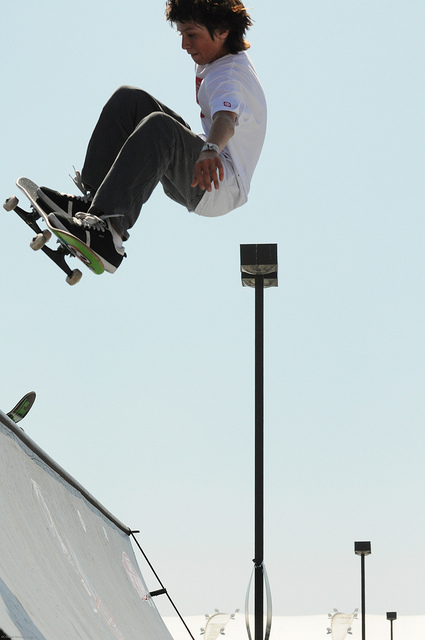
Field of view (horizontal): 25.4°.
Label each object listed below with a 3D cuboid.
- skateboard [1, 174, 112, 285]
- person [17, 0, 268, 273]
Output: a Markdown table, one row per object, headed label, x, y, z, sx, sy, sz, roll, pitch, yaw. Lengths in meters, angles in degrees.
| label | x | y | z | sx | sy | sz | roll | pitch | yaw |
| --- | --- | --- | --- | --- | --- | --- | --- | --- | --- |
| skateboard | -0.920 | -0.604 | 6.112 | 0.920 | 0.285 | 0.481 | 46 | 5 | -10 |
| person | -0.368 | -1.171 | 6.352 | 0.893 | 1.367 | 1.499 | 28 | 6 | -24 |
